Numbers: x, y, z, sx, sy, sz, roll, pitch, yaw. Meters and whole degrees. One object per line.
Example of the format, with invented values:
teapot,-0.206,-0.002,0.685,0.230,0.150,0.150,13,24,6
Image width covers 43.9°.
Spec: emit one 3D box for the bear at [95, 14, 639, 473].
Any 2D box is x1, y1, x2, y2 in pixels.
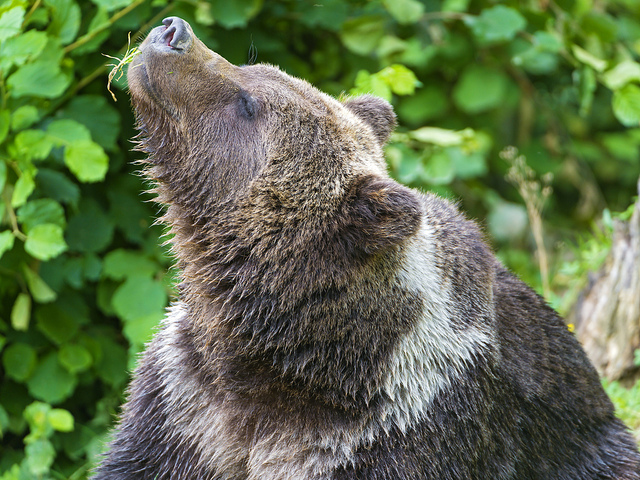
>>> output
bear,0.096,0.218,3.286,2.328,1.178,1.502,19,60,13
